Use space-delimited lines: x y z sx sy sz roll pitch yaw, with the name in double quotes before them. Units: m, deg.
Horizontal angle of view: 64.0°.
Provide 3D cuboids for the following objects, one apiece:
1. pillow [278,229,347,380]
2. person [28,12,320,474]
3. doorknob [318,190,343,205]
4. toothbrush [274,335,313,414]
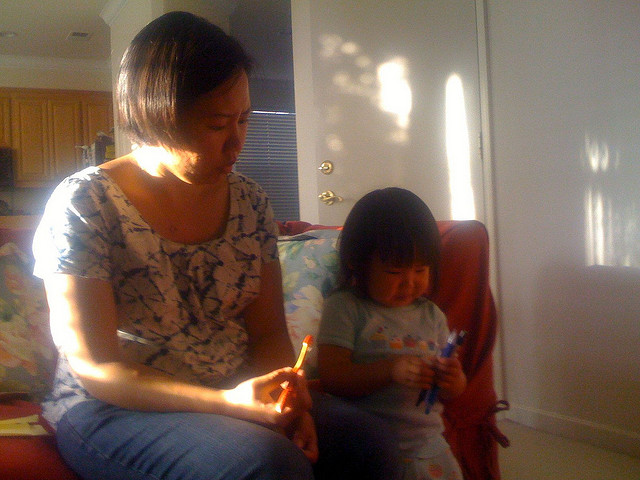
"pillow" -0.017 0.141 1.304 0.265 0.332 0.100 1 -22 -7
"person" -0.230 0.002 0.939 0.507 0.862 0.462 -2 5 -30
"doorknob" 0.049 -0.202 2.406 0.087 0.061 0.030 12 6 21
"toothbrush" -0.055 0.275 1.044 0.032 0.177 0.037 33 -10 -37
